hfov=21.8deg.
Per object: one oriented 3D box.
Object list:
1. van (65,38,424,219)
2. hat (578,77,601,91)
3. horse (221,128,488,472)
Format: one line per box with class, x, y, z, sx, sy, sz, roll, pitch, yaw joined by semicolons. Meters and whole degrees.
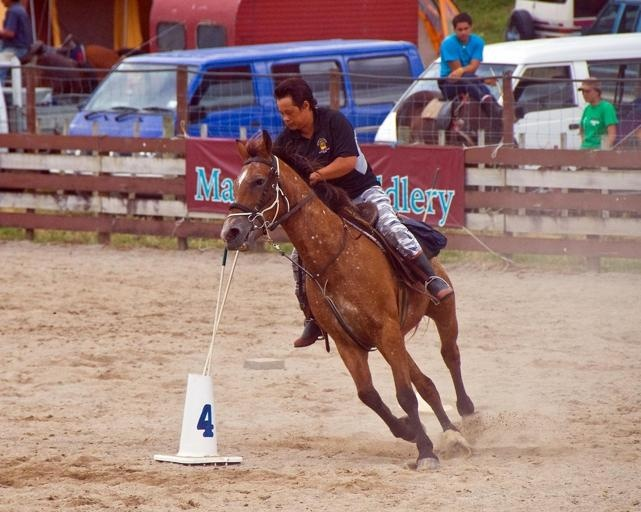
van;-0.775;-2.196;26.974;4.149;1.982;2.369;-5;5;-39
hat;3.853;-2.467;23.777;0.267;0.148;0.194;7;-4;-44
horse;0.598;0.587;18.963;1.219;3.764;4.141;-18;-15;32
